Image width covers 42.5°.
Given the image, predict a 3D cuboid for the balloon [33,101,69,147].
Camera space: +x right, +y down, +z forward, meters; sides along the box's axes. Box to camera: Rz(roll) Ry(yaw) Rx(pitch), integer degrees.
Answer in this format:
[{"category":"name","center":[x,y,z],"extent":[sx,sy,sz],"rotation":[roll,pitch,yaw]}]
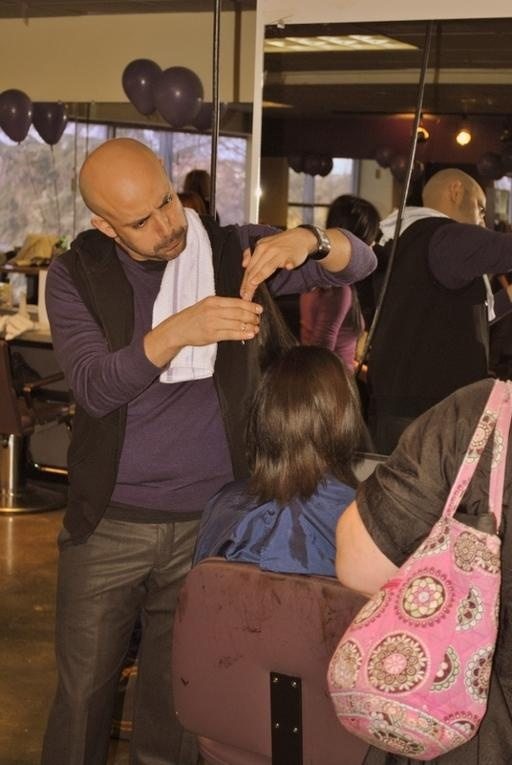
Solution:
[{"category":"balloon","center":[-1.438,-1.814,4.578],"extent":[0.283,0.283,0.251],"rotation":[-19,29,-24]}]

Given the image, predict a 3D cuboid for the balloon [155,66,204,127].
[{"category":"balloon","center":[-0.441,-1.631,3.755],"extent":[0.316,0.348,0.294],"rotation":[9,17,1]}]
